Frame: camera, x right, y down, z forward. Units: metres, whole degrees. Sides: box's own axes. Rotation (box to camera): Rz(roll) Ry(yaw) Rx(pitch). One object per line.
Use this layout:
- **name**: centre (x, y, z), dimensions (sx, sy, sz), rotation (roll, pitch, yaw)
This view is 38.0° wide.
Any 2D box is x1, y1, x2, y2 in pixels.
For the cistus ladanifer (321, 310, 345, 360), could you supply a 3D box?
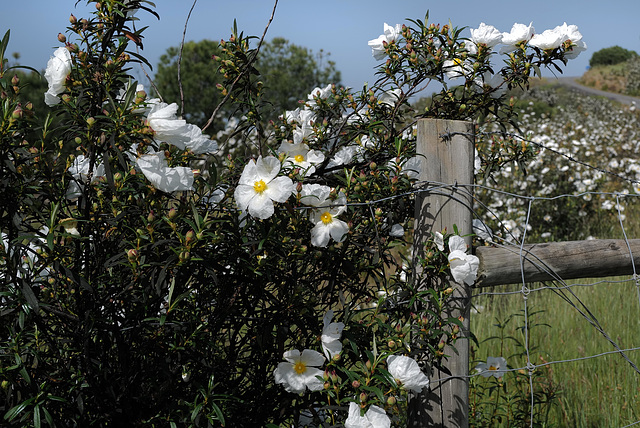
- **cistus ladanifer**: centre (0.079, 0.715, 5.442), dimensions (0.126, 0.245, 0.122), rotation (-3, -1, 43)
